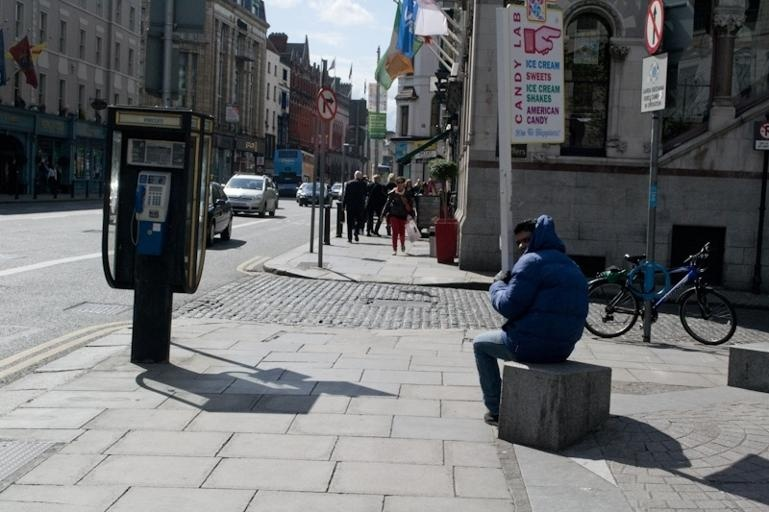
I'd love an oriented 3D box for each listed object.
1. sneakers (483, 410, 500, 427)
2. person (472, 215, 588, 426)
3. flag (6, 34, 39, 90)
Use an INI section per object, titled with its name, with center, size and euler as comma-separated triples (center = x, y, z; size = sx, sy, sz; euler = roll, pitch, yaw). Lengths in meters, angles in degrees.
[sneakers]
center = 1.020, 1.543, 6.734
size = 0.119, 0.125, 0.298
euler = 2, -11, 4
[person]
center = 1.357, 0.628, 6.567
size = 1.006, 1.942, 0.398
euler = 2, 6, 8
[flag]
center = -21.017, -11.058, 41.140
size = 1.231, 3.030, 4.255
euler = -2, 7, -27
